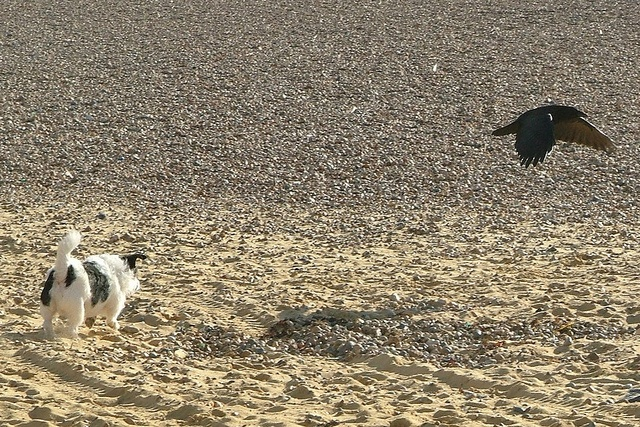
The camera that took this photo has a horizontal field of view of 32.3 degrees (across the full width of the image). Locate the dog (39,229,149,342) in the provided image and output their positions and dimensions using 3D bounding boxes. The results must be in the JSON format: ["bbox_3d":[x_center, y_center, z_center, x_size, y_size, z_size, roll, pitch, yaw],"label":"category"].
[{"bbox_3d":[-3.748,1.158,17.562,1.199,1.411,2.661,11,0,9],"label":"dog"}]

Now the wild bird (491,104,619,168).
[{"bbox_3d":[3.909,-1.441,18.771,1.542,0.528,2.377,11,17,30],"label":"wild bird"}]
